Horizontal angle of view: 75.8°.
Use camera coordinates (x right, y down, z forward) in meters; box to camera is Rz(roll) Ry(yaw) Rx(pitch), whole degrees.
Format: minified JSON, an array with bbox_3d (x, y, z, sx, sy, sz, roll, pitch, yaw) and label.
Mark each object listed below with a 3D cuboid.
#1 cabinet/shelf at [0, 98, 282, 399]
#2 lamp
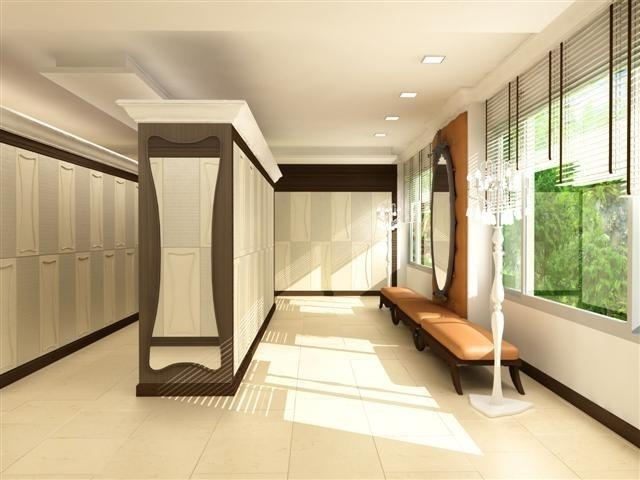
[{"bbox_3d":[-2.176,0.112,4.759,1.823,1.714,3.426,1,1,-4],"label":"cabinet/shelf"},{"bbox_3d":[1.865,0.344,4.341,0.631,2.390,1.624,2,8,19],"label":"lamp"}]
